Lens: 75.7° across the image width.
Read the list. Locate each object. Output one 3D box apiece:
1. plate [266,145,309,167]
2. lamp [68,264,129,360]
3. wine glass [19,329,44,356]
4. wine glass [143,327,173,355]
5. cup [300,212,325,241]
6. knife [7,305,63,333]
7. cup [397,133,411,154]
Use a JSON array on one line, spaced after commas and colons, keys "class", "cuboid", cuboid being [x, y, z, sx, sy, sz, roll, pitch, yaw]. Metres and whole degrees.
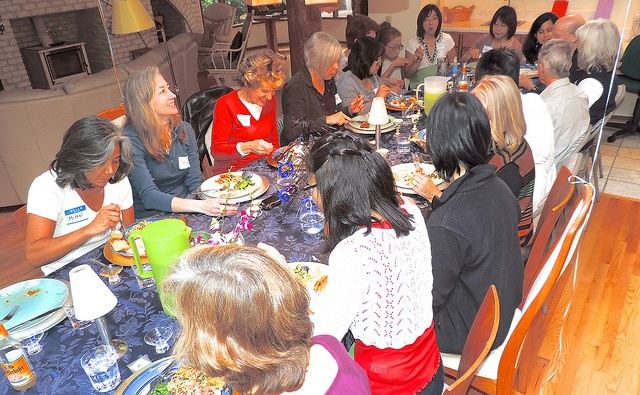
[{"class": "plate", "cuboid": [-0.226, -0.285, 2.839, 0.192, 0.057, 0.190, -16, 21, 12]}, {"class": "lamp", "cuboid": [-0.967, 0.484, 1.789, 0.159, 0.399, 0.262, -21, 31, -33]}, {"class": "wine glass", "cuboid": [-1.290, 0.661, 1.848, 0.079, 0.060, 0.077, -10, -12, -6]}, {"class": "wine glass", "cuboid": [-0.721, 0.630, 1.845, 0.100, 0.065, 0.098, -31, 45, -27]}, {"class": "cup", "cuboid": [-0.043, 0.150, 2.304, 0.125, 0.091, 0.136, 1, 38, -1]}, {"class": "knife", "cuboid": [-1.318, 0.567, 1.904, 0.296, 0.037, 0.016, -18, -6, -28]}, {"class": "cup", "cuboid": [0.608, -0.387, 3.004, 0.113, 0.129, 0.131, 9, 40, 12]}]
